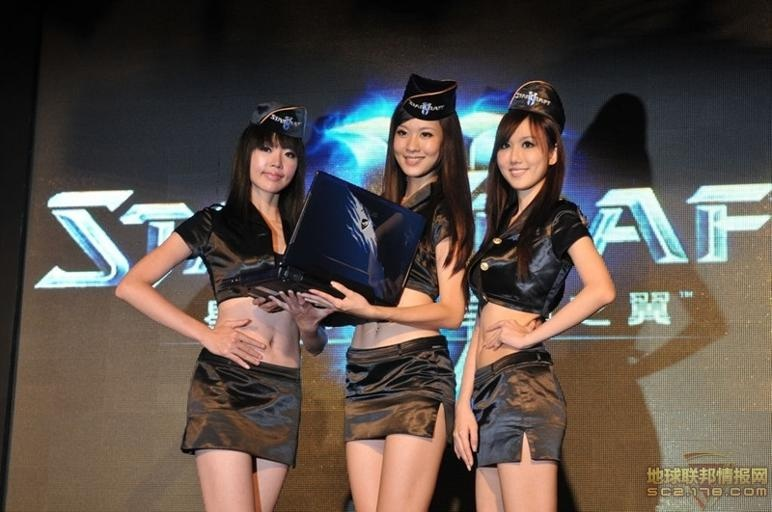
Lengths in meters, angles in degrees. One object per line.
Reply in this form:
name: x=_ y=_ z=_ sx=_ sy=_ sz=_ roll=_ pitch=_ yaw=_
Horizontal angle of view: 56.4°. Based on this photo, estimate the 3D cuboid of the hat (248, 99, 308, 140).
hat: x=-0.623 y=-0.756 z=4.002 sx=0.193 sy=0.104 sz=0.267 roll=18 pitch=3 yaw=-41

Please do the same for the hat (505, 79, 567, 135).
hat: x=0.826 y=-0.795 z=3.897 sx=0.239 sy=0.313 sz=0.175 roll=6 pitch=-4 yaw=9
